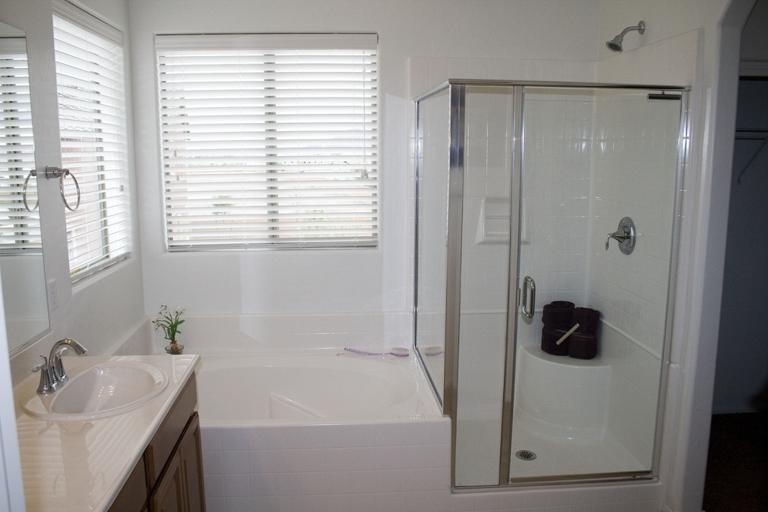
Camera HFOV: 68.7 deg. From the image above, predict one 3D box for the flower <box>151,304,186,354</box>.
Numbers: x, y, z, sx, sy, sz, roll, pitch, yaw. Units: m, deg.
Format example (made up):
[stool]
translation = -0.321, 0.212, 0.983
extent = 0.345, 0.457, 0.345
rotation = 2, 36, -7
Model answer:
[flower]
translation = -1.508, 0.540, 4.042
extent = 0.219, 0.305, 0.205
rotation = -11, -3, 13

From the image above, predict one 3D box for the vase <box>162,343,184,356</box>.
[vase]
translation = -1.489, 0.654, 3.989
extent = 0.115, 0.102, 0.116
rotation = 1, -2, 33

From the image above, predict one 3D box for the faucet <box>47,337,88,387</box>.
[faucet]
translation = -1.537, 0.470, 2.700
extent = 0.145, 0.243, 0.350
rotation = -10, 18, -35

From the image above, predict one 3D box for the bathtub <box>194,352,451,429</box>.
[bathtub]
translation = -0.486, 0.972, 3.658
extent = 1.591, 0.361, 0.923
rotation = 0, 14, -1
